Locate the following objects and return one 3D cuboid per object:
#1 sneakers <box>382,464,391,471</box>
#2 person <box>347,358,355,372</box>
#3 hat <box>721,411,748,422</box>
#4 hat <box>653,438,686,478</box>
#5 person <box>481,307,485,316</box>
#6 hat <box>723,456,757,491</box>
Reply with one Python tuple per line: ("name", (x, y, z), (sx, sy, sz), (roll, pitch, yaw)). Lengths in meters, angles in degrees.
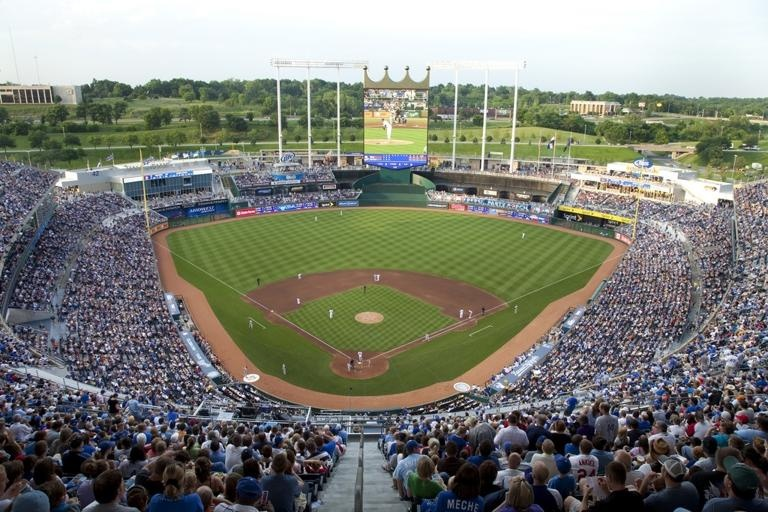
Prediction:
("sneakers", (0.113, 8.050, 23.447), (0.176, 0.207, 0.496), (1, 7, -18))
("person", (-2.373, 7.997, 45.159), (0.941, 0.814, 0.575), (-3, 4, -34))
("hat", (12.781, 5.889, 22.664), (0.710, 0.311, 0.442), (13, 13, 25))
("hat", (8.279, 5.951, 18.205), (0.857, 0.428, 1.155), (-2, 36, -12))
("person", (8.431, 4.786, 53.011), (0.384, 0.925, 0.427), (-2, 14, 12))
("hat", (9.692, 5.893, 16.981), (0.667, 0.470, 0.914), (-13, 34, 3))
